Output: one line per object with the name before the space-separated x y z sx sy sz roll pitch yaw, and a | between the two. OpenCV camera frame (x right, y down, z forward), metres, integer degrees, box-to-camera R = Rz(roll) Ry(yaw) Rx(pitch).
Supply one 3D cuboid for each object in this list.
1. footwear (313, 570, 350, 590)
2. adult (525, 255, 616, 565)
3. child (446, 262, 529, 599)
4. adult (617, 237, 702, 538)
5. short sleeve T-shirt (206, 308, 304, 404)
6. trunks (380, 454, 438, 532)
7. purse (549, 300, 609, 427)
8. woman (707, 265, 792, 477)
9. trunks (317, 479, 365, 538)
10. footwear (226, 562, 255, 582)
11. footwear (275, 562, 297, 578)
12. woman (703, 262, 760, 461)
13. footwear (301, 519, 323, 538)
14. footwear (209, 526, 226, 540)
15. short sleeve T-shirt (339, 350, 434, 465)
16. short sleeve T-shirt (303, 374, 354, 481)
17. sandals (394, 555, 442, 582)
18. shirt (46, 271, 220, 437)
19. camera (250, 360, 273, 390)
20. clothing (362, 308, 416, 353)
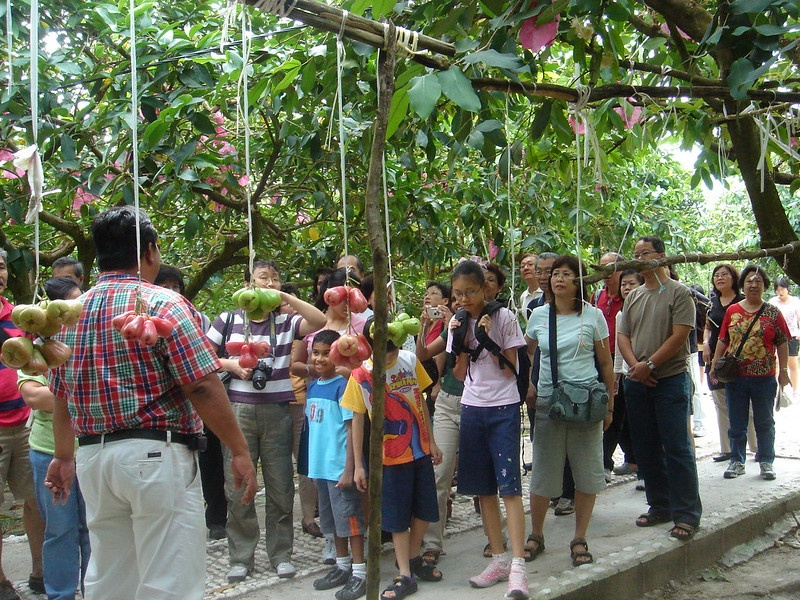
footwear | -0.407 1.713 4.646 0.253 0.095 0.090 1 -2 -41
adult | 1.046 0.682 4.888 0.705 1.985 0.664 0 -7 21
child | 0.545 0.737 4.598 0.494 1.733 0.532 -7 -3 15
adult | 1.850 0.594 5.314 0.478 2.048 0.811 -1 -2 -18
short sleeve T-shirt | -0.931 0.372 4.957 0.726 0.674 0.401 -1 4 -11
trunks | 0.126 1.186 4.612 0.331 0.430 0.178 -3 -10 24
purse | 1.127 0.415 4.853 0.375 0.702 0.267 -6 -3 13
woman | 3.058 0.612 6.505 0.691 1.814 0.530 0 -6 20
trunks | -0.399 1.289 4.733 0.357 0.363 0.144 -12 -11 44
footwear | -0.993 1.714 4.709 0.169 0.068 0.066 10 -9 -39
footwear | -0.726 1.710 4.754 0.133 0.070 0.112 -5 -3 -3
woman | 3.104 0.560 7.049 0.544 1.849 0.572 -5 -14 26
footwear | -0.633 1.675 5.466 0.075 0.073 0.192 4 -7 -39
footwear | -1.300 1.669 5.372 0.099 0.033 0.103 -18 26 -39
short sleeve T-shirt | -0.044 0.675 4.706 0.641 0.708 0.249 -15 9 -20
short sleeve T-shirt | -0.396 0.713 4.884 0.204 0.565 0.399 -12 34 -28
sandals | 0.123 1.666 4.680 0.259 0.112 0.094 11 25 23
shirt | -1.231 0.287 3.558 0.996 0.802 0.525 -6 -3 31
camera | -0.874 0.475 4.789 0.163 0.164 0.104 3 -11 -11
clothing | -0.076 0.180 3.567 0.234 0.098 0.232 15 23 25
